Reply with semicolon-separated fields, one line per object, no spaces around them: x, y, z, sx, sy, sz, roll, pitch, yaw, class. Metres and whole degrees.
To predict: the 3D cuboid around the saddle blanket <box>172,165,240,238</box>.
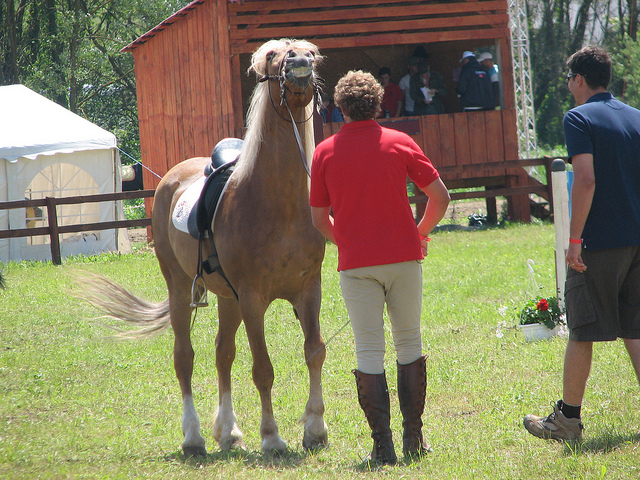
-1.768;-0.491;17.080;0.868;1.274;0.926;-13;23;-39;saddle blanket

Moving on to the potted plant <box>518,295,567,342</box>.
3.743;1.435;18.817;0.701;0.705;0.711;-16;-18;39;potted plant

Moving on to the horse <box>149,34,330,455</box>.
-1.175;0.058;16.625;2.573;6.122;1.448;-2;4;14;horse
